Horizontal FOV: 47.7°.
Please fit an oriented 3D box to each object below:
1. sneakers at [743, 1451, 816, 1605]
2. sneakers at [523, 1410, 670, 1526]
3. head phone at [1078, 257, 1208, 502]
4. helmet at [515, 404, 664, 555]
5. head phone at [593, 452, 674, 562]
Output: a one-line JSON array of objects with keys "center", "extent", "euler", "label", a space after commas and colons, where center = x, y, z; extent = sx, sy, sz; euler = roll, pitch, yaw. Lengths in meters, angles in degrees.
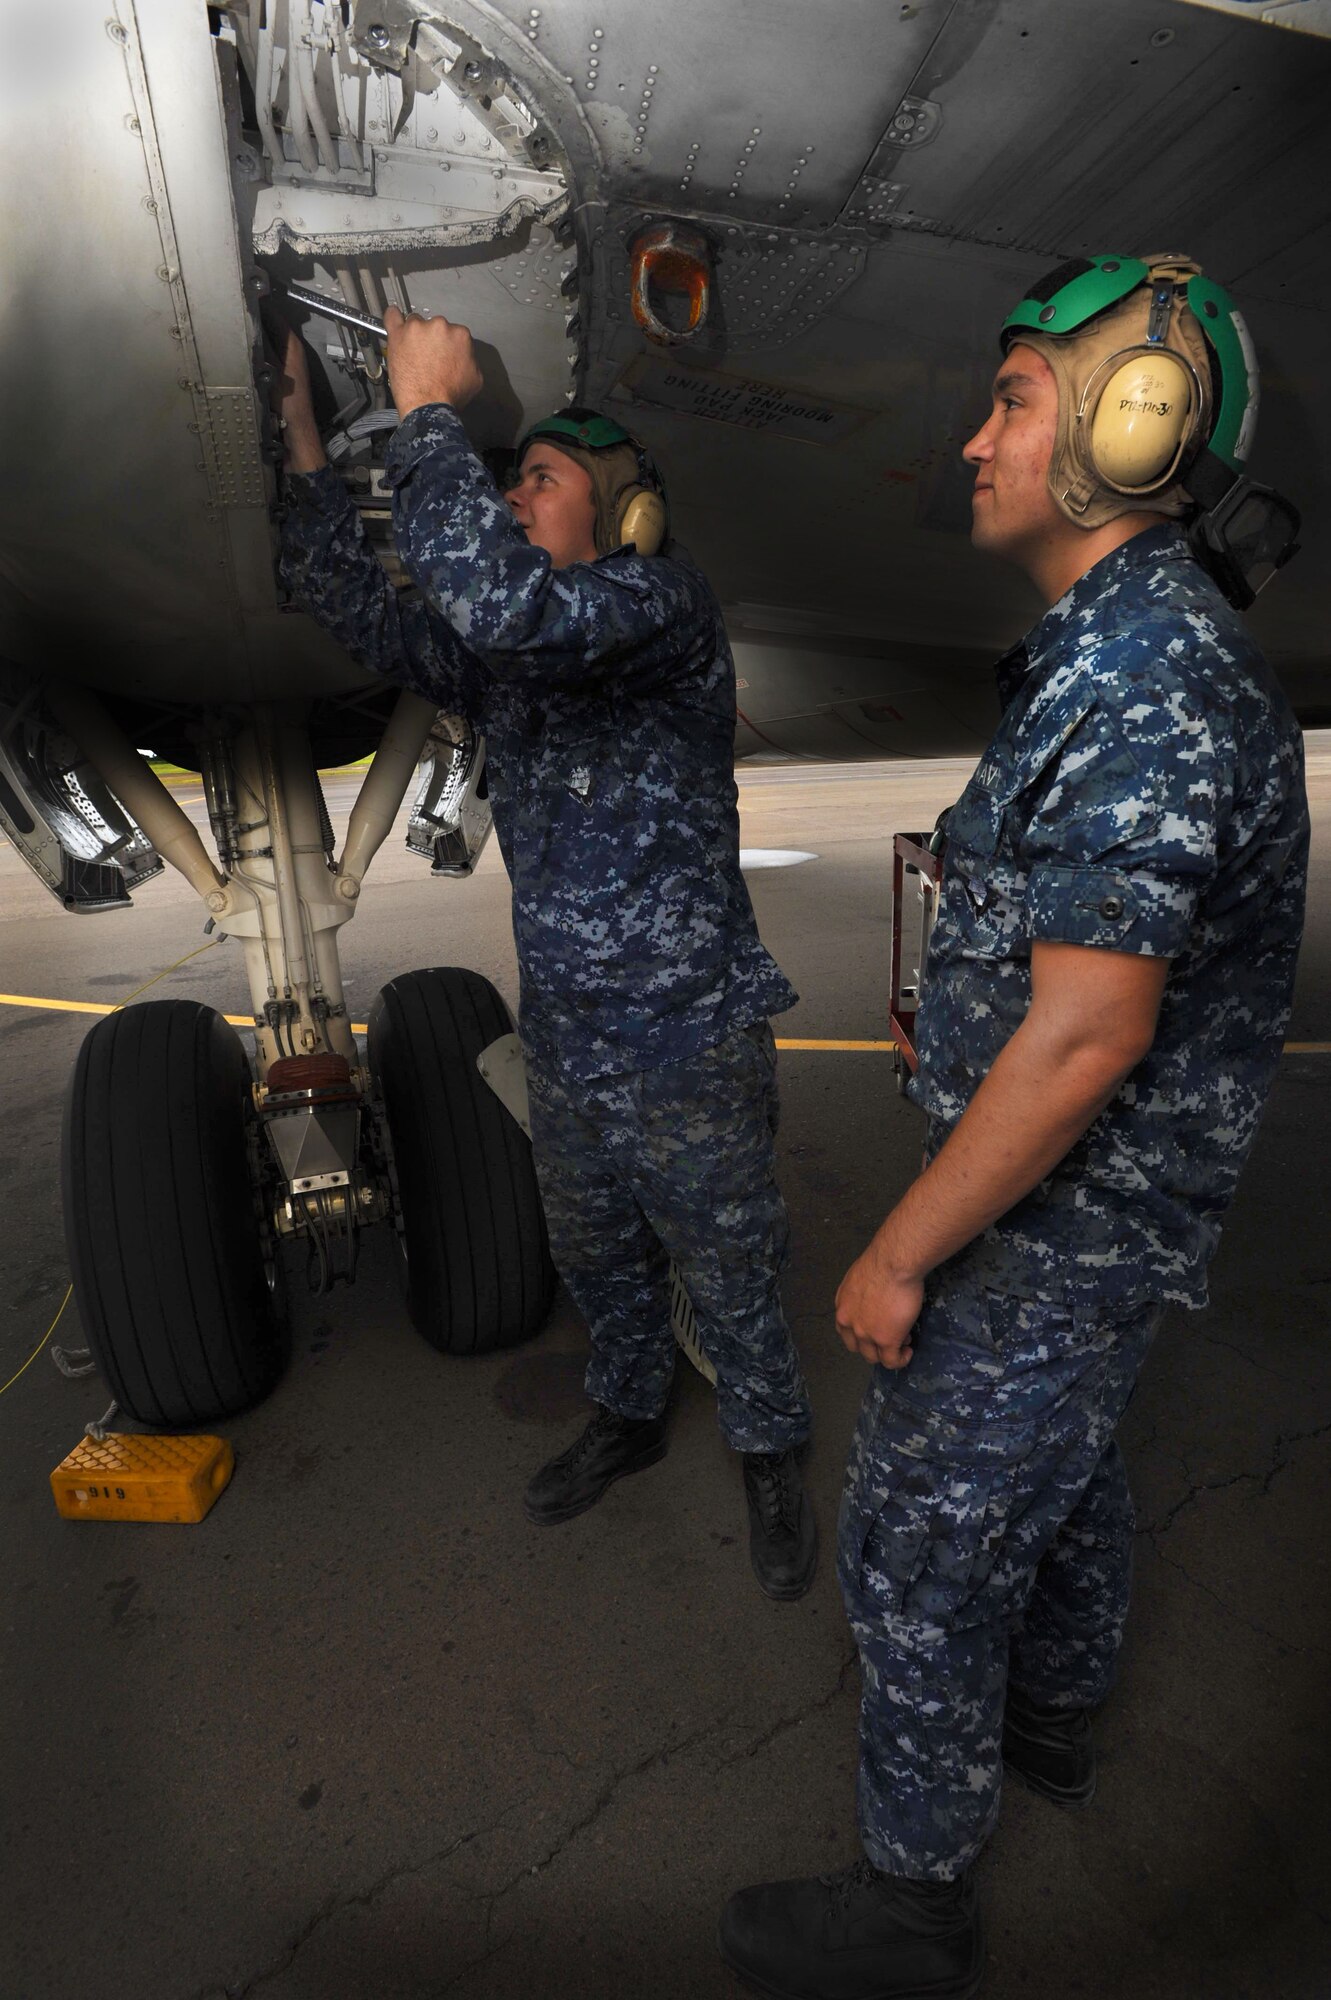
[{"center": [0.165, 0.742, 2.150], "extent": [0.072, 0.078, 0.199], "euler": [-7, 45, 2], "label": "sneakers"}, {"center": [-0.064, 0.719, 2.337], "extent": [0.257, 0.162, 0.088], "euler": [-17, 57, -36], "label": "sneakers"}, {"center": [0.365, -0.520, 1.261], "extent": [0.072, 0.171, 0.136], "euler": [18, 34, 24], "label": "head phone"}, {"center": [-0.075, -0.625, 1.862], "extent": [0.200, 0.170, 0.205], "euler": [16, 24, 42], "label": "helmet"}, {"center": [-0.048, -0.596, 1.825], "extent": [0.050, 0.092, 0.129], "euler": [-15, 33, -11], "label": "head phone"}]
